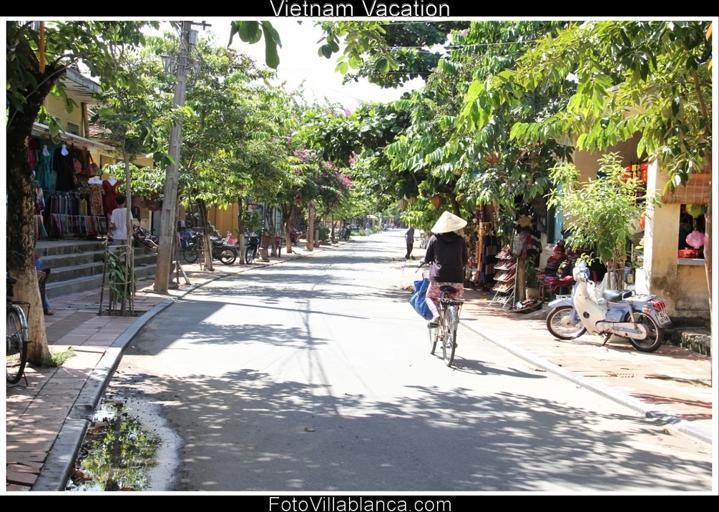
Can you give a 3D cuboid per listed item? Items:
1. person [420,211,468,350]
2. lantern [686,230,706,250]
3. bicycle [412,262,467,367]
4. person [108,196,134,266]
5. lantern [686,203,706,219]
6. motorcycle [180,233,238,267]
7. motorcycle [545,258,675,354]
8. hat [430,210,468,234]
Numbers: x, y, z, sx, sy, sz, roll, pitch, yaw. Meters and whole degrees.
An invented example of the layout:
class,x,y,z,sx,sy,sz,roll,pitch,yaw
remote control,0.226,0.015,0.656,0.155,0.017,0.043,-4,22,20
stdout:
class,x,y,z,sx,sy,sz,roll,pitch,yaw
person,1.503,0.368,9.845,0.741,2.335,1.096,2,3,9
lantern,7.246,-0.360,12.008,0.309,0.417,0.354,3,3,31
bicycle,1.452,1.137,9.822,0.791,1.108,1.804,2,7,-5
person,-8.394,-0.914,19.427,0.926,2.459,0.953,11,21,9
lantern,6.584,-0.910,10.903,0.205,0.259,0.864,4,2,40
motorcycle,-8.122,-0.276,29.497,3.056,1.806,1.545,6,8,19
motorcycle,4.921,1.122,11.404,2.693,1.941,1.323,8,10,39
hat,1.603,-0.605,9.989,0.516,0.427,0.918,2,2,8
